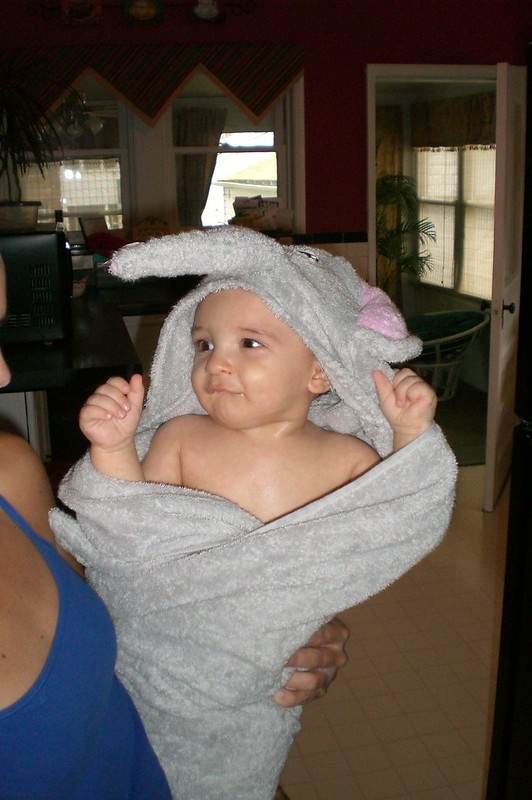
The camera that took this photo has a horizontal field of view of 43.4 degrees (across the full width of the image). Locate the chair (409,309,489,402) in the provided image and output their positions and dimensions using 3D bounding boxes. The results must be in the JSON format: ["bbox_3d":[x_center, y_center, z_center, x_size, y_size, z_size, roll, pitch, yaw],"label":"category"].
[{"bbox_3d":[1.520,-0.258,5.131,0.459,0.389,0.459,15,-9,-28],"label":"chair"}]

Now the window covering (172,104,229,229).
[{"bbox_3d":[-0.438,-1.445,4.262,0.353,0.831,0.104,2,-1,13],"label":"window covering"}]
